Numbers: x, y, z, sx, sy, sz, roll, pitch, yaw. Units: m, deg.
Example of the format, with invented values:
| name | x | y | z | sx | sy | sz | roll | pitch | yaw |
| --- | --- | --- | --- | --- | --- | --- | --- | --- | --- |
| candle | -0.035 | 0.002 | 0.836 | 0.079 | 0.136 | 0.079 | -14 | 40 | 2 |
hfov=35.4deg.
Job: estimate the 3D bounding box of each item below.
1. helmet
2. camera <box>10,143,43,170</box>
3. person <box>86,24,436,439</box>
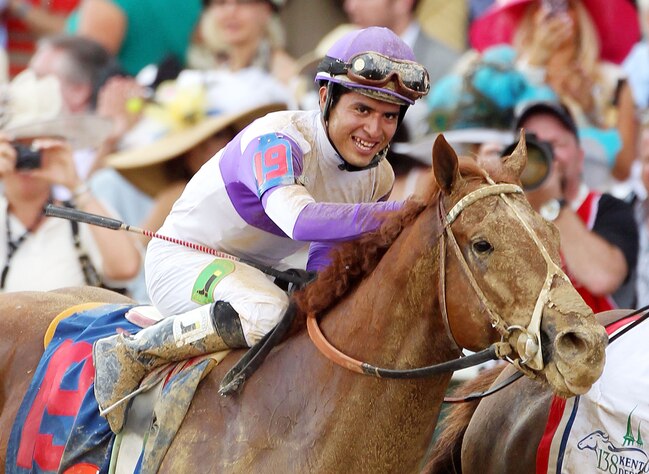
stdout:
| name | x | y | z | sx | sy | sz | roll | pitch | yaw |
| --- | --- | --- | --- | --- | --- | --- | --- | --- | --- |
| helmet | 0.276 | -0.892 | 5.334 | 0.508 | 0.379 | 0.693 | 9 | 1 | -12 |
| camera | -2.140 | -0.577 | 7.302 | 0.146 | 0.162 | 0.158 | 3 | 9 | -2 |
| person | -0.185 | 0.199 | 5.407 | 0.964 | 2.650 | 1.451 | 16 | 6 | -33 |
